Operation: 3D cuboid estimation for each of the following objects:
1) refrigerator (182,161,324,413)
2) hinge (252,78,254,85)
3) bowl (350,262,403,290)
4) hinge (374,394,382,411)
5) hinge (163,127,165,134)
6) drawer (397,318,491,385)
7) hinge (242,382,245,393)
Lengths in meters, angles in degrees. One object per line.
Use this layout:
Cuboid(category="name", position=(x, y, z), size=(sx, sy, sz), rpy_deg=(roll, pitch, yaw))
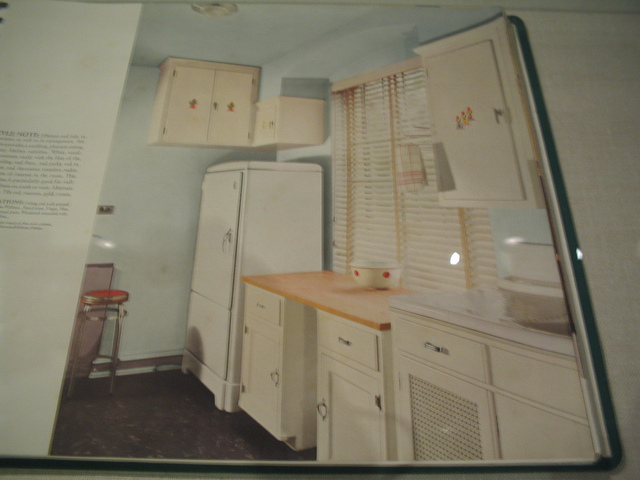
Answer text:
Cuboid(category="refrigerator", position=(-0.392, 0.142, 2.036), size=(0.628, 1.366, 0.751), rpy_deg=(3, -2, -20))
Cuboid(category="hinge", position=(-0.209, -0.490, 1.384), size=(0.009, 0.018, 0.010), rpy_deg=(0, -2, -14))
Cuboid(category="bowl", position=(0.184, 0.114, 1.420), size=(0.181, 0.096, 0.060), rpy_deg=(3, 2, 33))
Cuboid(category="hinge", position=(0.162, 0.451, 1.242), size=(0.024, 0.029, 0.006), rpy_deg=(3, 2, 28))
Cuboid(category="hinge", position=(-0.463, -0.325, 1.321), size=(0.003, 0.015, 0.004), rpy_deg=(3, 2, 37))
Cuboid(category="drawer", position=(0.335, 0.287, 1.181), size=(0.155, 0.040, 0.164), rpy_deg=(13, 3, 37))
Cuboid(category="hinge", position=(-0.228, 0.439, 1.322), size=(0.006, 0.019, 0.015), rpy_deg=(2, 2, -18))
